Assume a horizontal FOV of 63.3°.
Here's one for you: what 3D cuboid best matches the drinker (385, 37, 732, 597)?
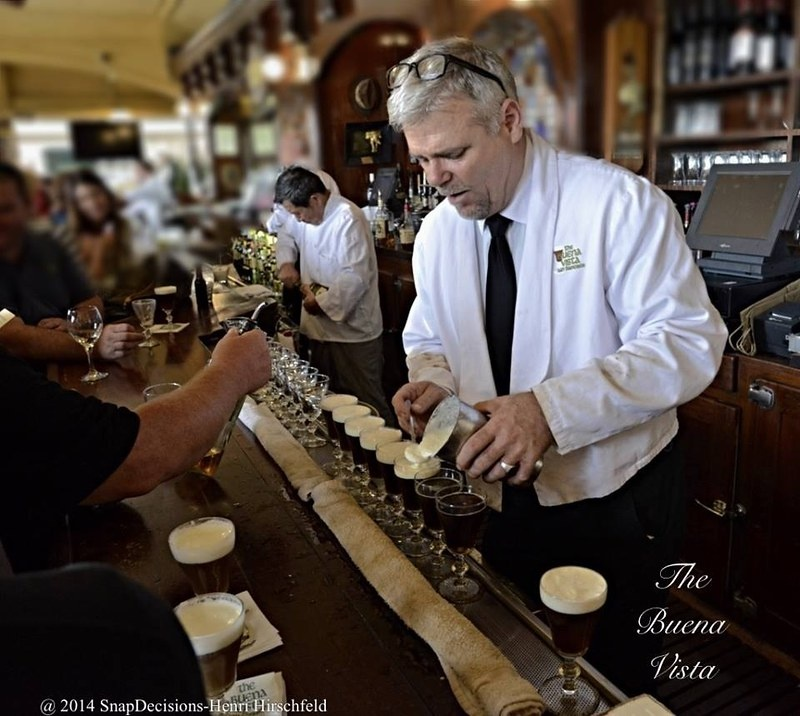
[{"bbox_3d":[0.330,-0.107,1.752,0.771,1.548,0.629,-5,8,-26],"label":"drinker"}]

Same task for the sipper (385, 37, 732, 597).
[{"bbox_3d":[0.395,-0.134,1.820,0.806,1.511,0.612,-5,7,-31],"label":"sipper"}]
